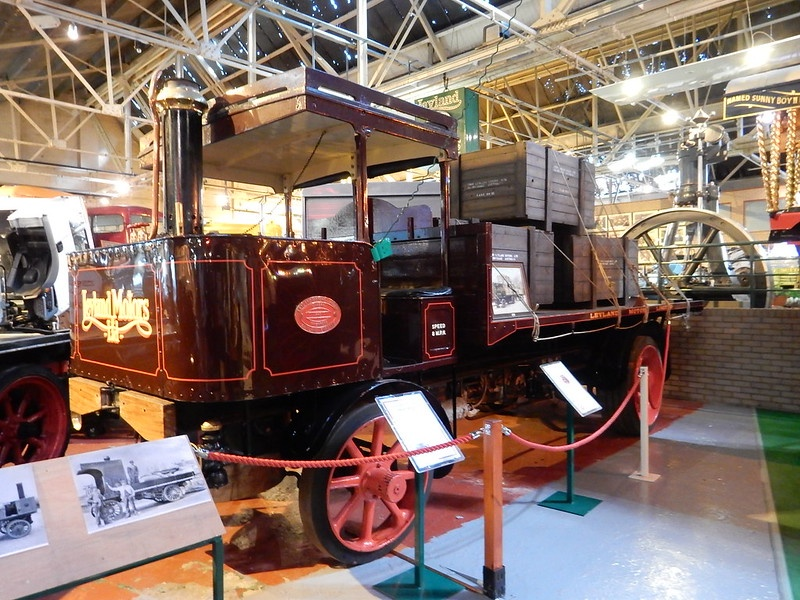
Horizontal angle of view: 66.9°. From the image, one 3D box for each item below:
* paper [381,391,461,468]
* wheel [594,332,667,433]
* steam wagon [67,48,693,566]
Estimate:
[{"bbox_3d":[0.139,0.971,4.619,0.538,0.491,0.540,-7,10,-38],"label":"paper"},{"bbox_3d":[2.853,1.012,7.584,0.532,1.205,1.297,0,-8,41],"label":"wheel"},{"bbox_3d":[0.019,-0.017,7.163,3.683,3.568,7.102,2,5,36],"label":"steam wagon"}]
